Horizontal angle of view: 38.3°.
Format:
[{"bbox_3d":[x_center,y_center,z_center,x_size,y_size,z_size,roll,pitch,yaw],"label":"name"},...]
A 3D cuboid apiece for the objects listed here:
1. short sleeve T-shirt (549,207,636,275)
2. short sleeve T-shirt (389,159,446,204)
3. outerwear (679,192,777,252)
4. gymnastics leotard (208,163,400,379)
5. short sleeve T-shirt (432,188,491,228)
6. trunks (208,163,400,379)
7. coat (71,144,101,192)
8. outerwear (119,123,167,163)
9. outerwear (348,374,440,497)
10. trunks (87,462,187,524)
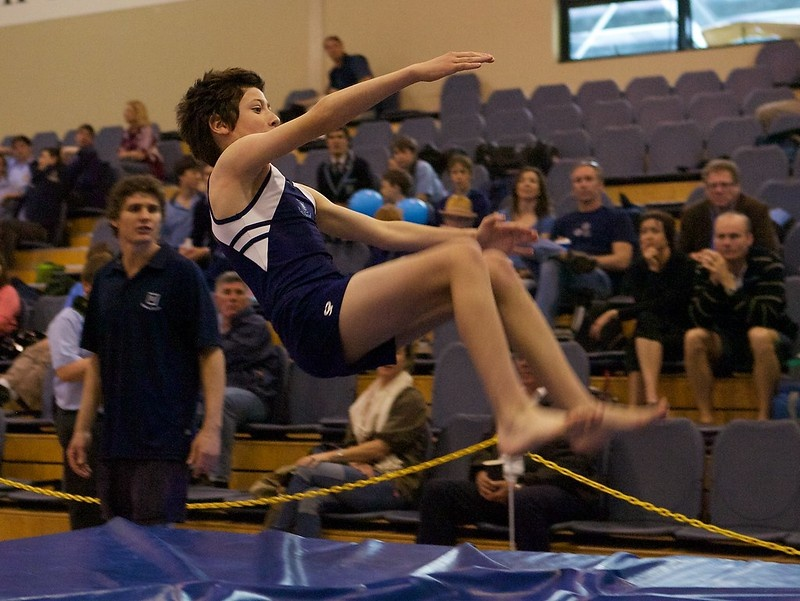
[{"bbox_3d":[1.377,-0.483,8.503,0.590,0.332,0.531,11,-41,14],"label":"short sleeve T-shirt"},{"bbox_3d":[0.130,-0.984,9.740,0.308,0.510,0.234,-24,-34,-35],"label":"short sleeve T-shirt"},{"bbox_3d":[2.231,-0.510,7.825,0.476,0.345,0.244,3,12,45],"label":"outerwear"},{"bbox_3d":[-0.399,-0.230,5.728,0.819,1.235,0.545,-21,-16,1],"label":"gymnastics leotard"},{"bbox_3d":[0.476,-0.696,8.887,0.511,0.175,0.553,-1,17,5],"label":"short sleeve T-shirt"},{"bbox_3d":[-0.400,-0.219,5.717,0.797,1.227,0.579,-23,-16,7],"label":"trunks"},{"bbox_3d":[-3.128,-1.303,11.501,0.153,0.411,0.336,11,6,5],"label":"coat"},{"bbox_3d":[-2.739,-1.611,12.065,0.355,0.381,0.431,-2,14,14],"label":"outerwear"},{"bbox_3d":[-0.075,0.812,7.161,0.478,0.766,0.594,21,-13,-23],"label":"outerwear"},{"bbox_3d":[-1.340,0.968,5.926,0.537,0.359,0.316,-1,-10,10],"label":"trunks"}]
